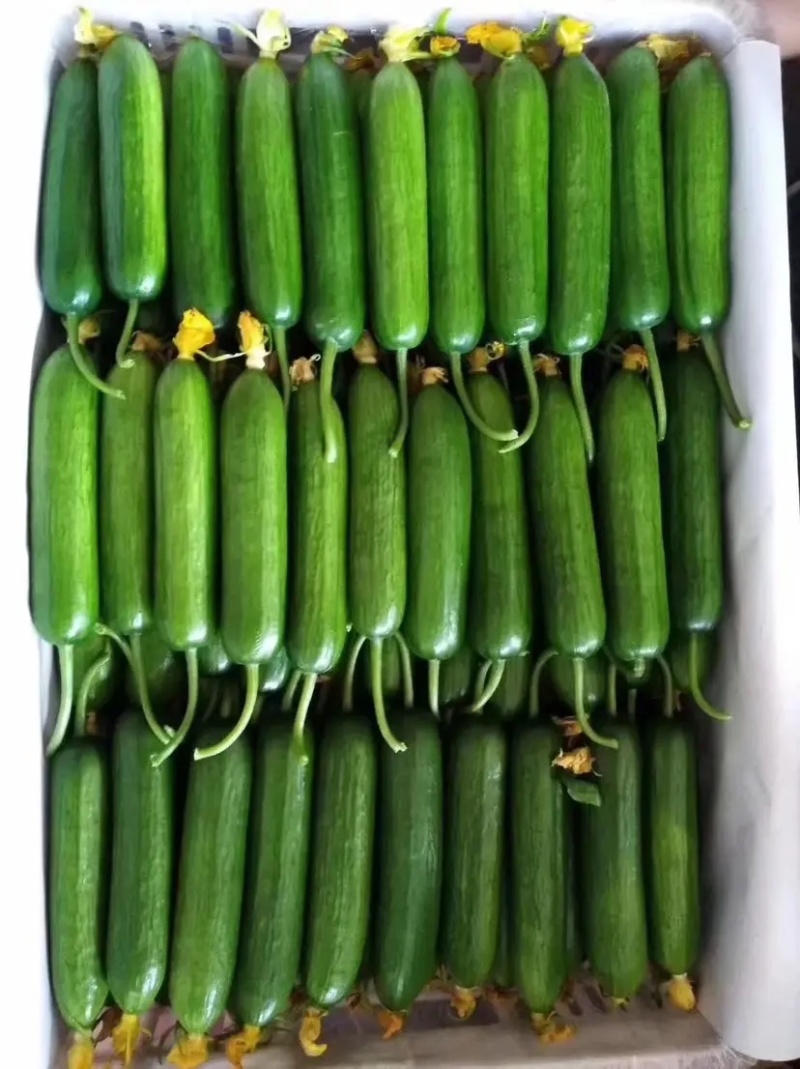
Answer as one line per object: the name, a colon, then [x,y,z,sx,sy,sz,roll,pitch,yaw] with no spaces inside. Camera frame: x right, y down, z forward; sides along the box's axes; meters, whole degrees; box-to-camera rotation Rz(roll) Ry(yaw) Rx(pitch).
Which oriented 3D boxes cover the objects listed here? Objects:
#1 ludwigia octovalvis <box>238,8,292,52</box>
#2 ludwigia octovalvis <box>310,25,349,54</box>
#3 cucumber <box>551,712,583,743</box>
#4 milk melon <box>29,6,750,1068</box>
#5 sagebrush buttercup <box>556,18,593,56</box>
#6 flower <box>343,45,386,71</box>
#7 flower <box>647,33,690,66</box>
ludwigia octovalvis: [-0.154,-0.583,1.364,0.045,0.040,0.050,0,-14,-10]
ludwigia octovalvis: [-0.080,-0.564,1.355,0.038,0.047,0.021,7,-23,-4]
cucumber: [0.197,0.224,1.383,0.025,0.036,0.009,0,36,11]
milk melon: [-0.023,0.008,1.319,0.686,1.182,0.289,-1,2,-5]
sagebrush buttercup: [0.208,-0.571,1.367,0.038,0.060,0.023,-2,8,-7]
flower: [-0.042,-0.564,1.412,0.039,0.020,0.036,-7,-40,15]
flower: [0.319,-0.573,1.401,0.031,0.016,0.045,4,-33,-3]
